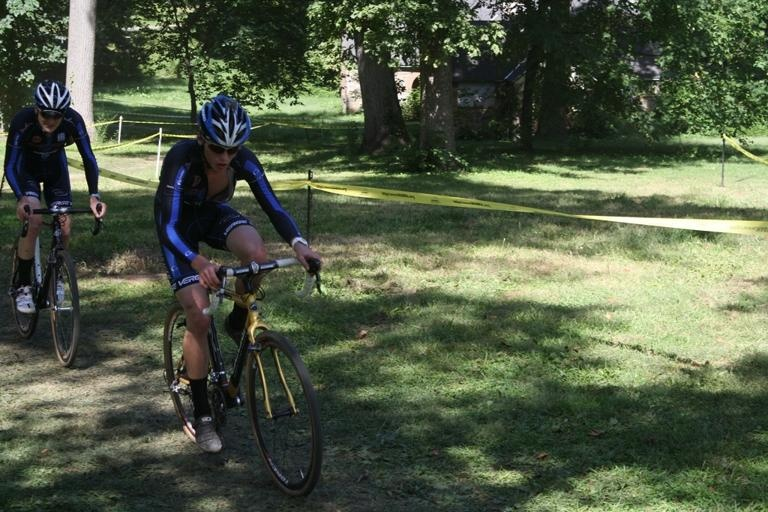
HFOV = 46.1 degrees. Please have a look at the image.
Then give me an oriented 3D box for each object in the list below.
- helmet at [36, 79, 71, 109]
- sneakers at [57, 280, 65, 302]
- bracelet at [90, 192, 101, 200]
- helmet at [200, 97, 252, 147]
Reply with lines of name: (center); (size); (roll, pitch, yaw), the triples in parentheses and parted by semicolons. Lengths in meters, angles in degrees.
helmet: (-4.370, -2.090, 11.878); (0.434, 0.371, 0.292); (-4, 16, -19)
sneakers: (-4.306, 0.476, 11.976); (0.091, 0.290, 0.125); (-2, 15, -11)
bracelet: (-3.868, -0.791, 12.087); (0.130, 0.097, 0.155); (7, 6, -8)
helmet: (-1.766, -1.476, 9.961); (0.506, 0.603, 0.282); (-9, -28, -22)
